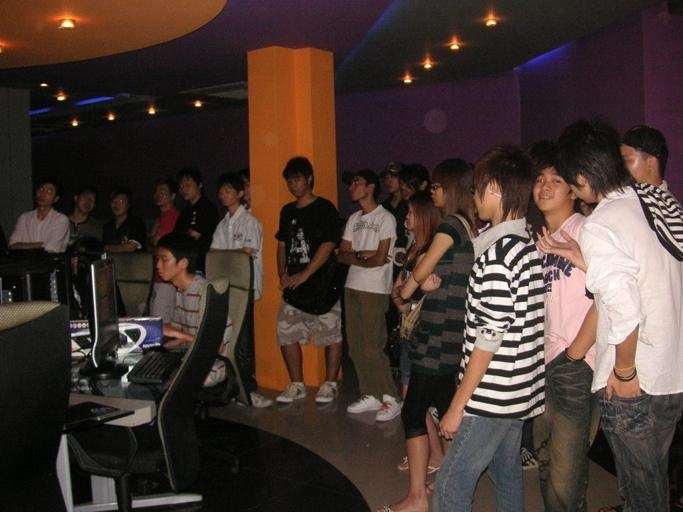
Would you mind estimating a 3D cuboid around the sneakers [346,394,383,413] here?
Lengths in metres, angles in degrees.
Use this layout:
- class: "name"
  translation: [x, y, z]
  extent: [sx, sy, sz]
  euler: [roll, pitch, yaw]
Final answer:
- class: "sneakers"
  translation: [0.189, 1.192, 4.548]
  extent: [0.271, 0.124, 0.120]
  euler: [0, 1, -10]

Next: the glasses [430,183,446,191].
- class: "glasses"
  translation: [0.539, -0.375, 3.084]
  extent: [0.055, 0.019, 0.056]
  euler: [11, 5, -6]

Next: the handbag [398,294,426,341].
- class: "handbag"
  translation: [0.412, 0.363, 3.311]
  extent: [0.086, 0.232, 0.179]
  euler: [12, 0, -5]

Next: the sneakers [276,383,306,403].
- class: "sneakers"
  translation: [-0.422, 1.178, 4.845]
  extent: [0.112, 0.135, 0.303]
  euler: [-3, -5, 42]

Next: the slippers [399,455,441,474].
- class: "slippers"
  translation: [0.502, 1.361, 3.647]
  extent: [0.282, 0.102, 0.179]
  euler: [4, 8, 5]

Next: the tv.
- class: "tv"
  translation: [-1.325, 0.360, 3.084]
  extent: [0.253, 0.670, 0.583]
  euler: [-2, 1, -8]

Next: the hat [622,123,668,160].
- class: "hat"
  translation: [1.566, -0.547, 2.882]
  extent: [0.192, 0.204, 0.180]
  euler: [23, 12, 18]

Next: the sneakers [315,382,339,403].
- class: "sneakers"
  translation: [-0.127, 1.178, 4.845]
  extent: [0.092, 0.109, 0.260]
  euler: [-2, -7, 25]

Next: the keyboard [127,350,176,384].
- class: "keyboard"
  translation: [-0.984, 0.577, 2.966]
  extent: [0.173, 0.056, 0.348]
  euler: [8, 12, 0]
